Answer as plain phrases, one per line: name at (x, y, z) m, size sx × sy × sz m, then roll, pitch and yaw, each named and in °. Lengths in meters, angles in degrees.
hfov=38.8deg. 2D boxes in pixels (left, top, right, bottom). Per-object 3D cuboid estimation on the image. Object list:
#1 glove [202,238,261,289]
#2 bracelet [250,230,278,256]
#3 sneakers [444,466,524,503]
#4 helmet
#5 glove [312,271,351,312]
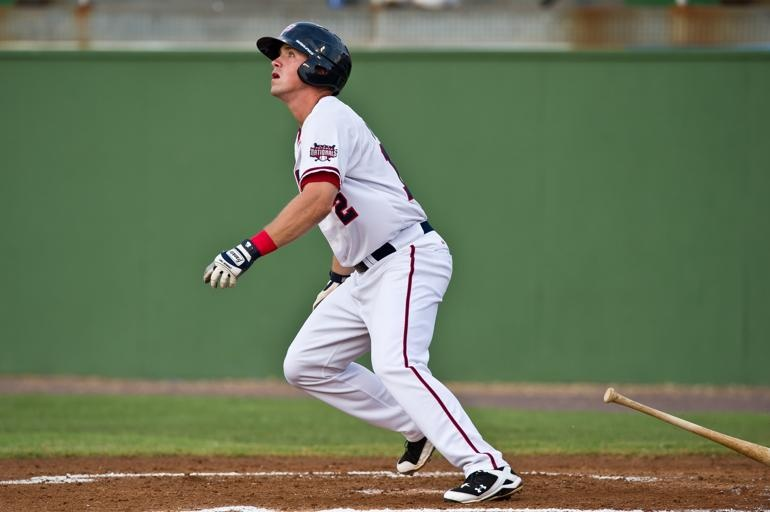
glove at (-0.934, 0.073, 6.691) m, size 0.364 × 0.224 × 0.133 m, roll -41°, pitch -9°, yaw 5°
bracelet at (-0.726, -0.079, 6.704) m, size 0.140 × 0.148 × 0.157 m, roll -45°, pitch -3°, yaw -23°
sneakers at (0.633, 1.423, 6.860) m, size 0.499 × 0.255 × 0.196 m, roll -3°, pitch -11°, yaw -13°
helmet at (-0.504, -1.283, 7.040) m, size 0.538 × 0.460 × 0.444 m, roll 9°, pitch -14°, yaw -3°
glove at (-0.355, 0.247, 7.566) m, size 0.320 × 0.129 × 0.100 m, roll -45°, pitch 9°, yaw 2°
